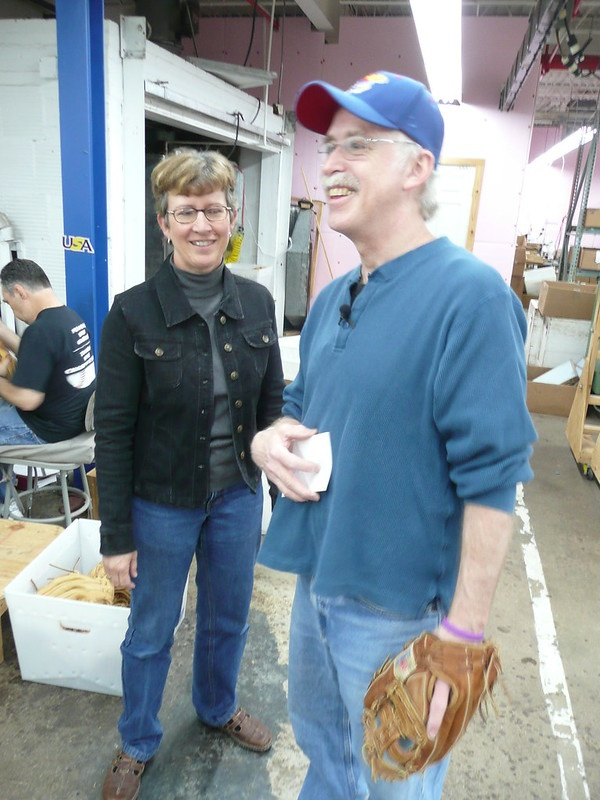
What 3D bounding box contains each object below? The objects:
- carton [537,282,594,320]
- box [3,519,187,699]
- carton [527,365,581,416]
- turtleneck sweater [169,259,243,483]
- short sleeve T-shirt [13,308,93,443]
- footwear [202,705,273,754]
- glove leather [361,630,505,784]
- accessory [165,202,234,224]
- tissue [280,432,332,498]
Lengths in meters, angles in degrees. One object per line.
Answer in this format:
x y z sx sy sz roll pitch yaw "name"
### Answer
3.045 -1.089 6.555 0.562 0.379 0.311 9 14 23 "carton"
-0.828 0.821 2.373 0.585 0.535 0.705 7 18 5 "box"
2.691 0.008 6.238 0.504 0.457 0.615 2 15 11 "carton"
-0.238 -0.035 1.588 0.223 0.567 0.126 -5 10 -13 "turtleneck sweater"
-1.250 -0.104 2.915 0.227 0.562 0.524 7 -4 5 "short sleeve T-shirt"
-0.212 1.101 1.990 0.204 0.112 0.095 12 12 21 "footwear"
0.187 0.468 0.890 0.094 0.278 0.199 6 48 -29 "glove leather"
-0.272 -0.506 1.582 0.166 0.059 0.063 1 13 -12 "accessory"
0.025 0.130 1.119 0.021 0.115 0.089 9 -14 -34 "tissue"
